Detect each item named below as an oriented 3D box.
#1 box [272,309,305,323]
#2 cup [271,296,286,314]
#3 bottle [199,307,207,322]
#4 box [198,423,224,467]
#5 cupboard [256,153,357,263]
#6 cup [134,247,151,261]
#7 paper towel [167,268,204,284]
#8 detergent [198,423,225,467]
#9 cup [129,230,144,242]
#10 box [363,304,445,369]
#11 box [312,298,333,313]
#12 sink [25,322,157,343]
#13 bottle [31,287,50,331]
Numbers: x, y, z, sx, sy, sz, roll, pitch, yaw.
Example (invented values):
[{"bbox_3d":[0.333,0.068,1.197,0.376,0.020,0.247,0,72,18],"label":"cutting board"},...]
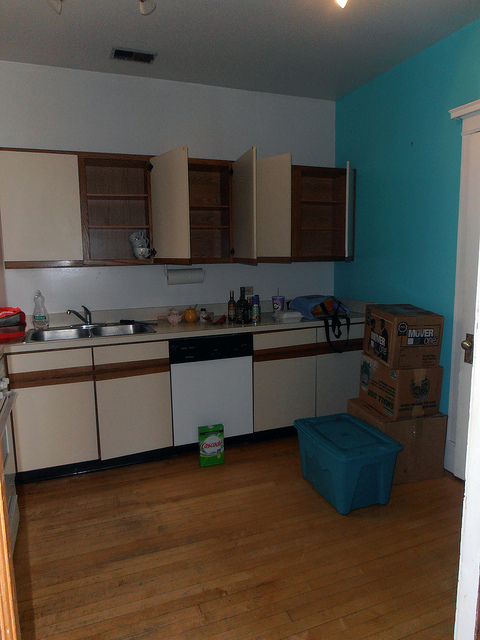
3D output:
[{"bbox_3d":[0.342,-0.026,3.331,0.211,0.066,0.133,-3,9,-9],"label":"box"},{"bbox_3d":[0.289,-0.113,3.639,0.104,0.167,0.116,-4,17,-17],"label":"cup"},{"bbox_3d":[-0.260,-0.036,3.396,0.050,0.082,0.122,-2,9,-6],"label":"bottle"},{"bbox_3d":[-0.169,0.805,2.940,0.164,0.085,0.249,-7,50,1],"label":"box"},{"bbox_3d":[0.477,-0.806,3.455,0.934,0.815,0.402,-5,10,-22],"label":"cupboard"},{"bbox_3d":[-0.646,-0.434,3.173,0.089,0.072,0.076,12,21,21],"label":"cup"},{"bbox_3d":[-0.380,-0.301,3.314,0.229,0.107,0.112,-4,-22,-12],"label":"paper towel"},{"bbox_3d":[-0.167,0.801,2.941,0.161,0.088,0.245,-8,52,1],"label":"detergent"},{"bbox_3d":[-0.687,-0.556,3.170,0.062,0.030,0.085,15,25,27],"label":"cup"},{"bbox_3d":[0.920,0.082,2.734,0.294,0.309,0.379,-3,9,-9],"label":"box"},{"bbox_3d":[0.602,-0.104,3.488,0.111,0.124,0.112,1,24,-6],"label":"box"},{"bbox_3d":[-0.950,0.073,3.081,0.765,0.101,0.302,-5,10,-21],"label":"sink"},{"bbox_3d":[-1.280,-0.068,3.059,0.112,0.265,0.161,-5,10,-24],"label":"bottle"}]
